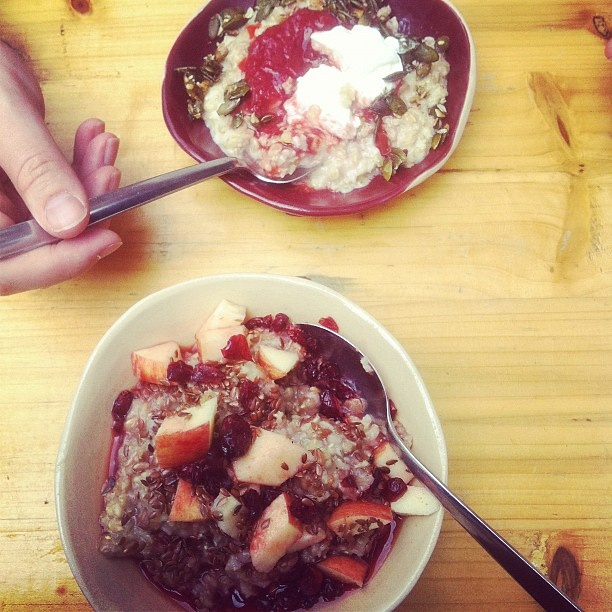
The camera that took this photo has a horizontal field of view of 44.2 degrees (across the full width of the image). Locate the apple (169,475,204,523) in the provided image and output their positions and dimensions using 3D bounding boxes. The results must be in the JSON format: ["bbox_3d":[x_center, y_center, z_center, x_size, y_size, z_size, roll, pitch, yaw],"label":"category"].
[{"bbox_3d":[-0.282,0.478,1.838,0.082,0.043,0.100,12,73,2],"label":"apple"}]

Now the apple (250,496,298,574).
[{"bbox_3d":[-0.078,0.538,1.795,0.159,0.059,0.169,-51,21,12],"label":"apple"}]

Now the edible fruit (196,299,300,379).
[{"bbox_3d":[-0.171,0.090,1.947,0.261,0.066,0.160,22,77,-9],"label":"edible fruit"}]

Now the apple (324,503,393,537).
[{"bbox_3d":[0.132,0.523,1.863,0.166,0.128,0.081,-6,74,-3],"label":"apple"}]

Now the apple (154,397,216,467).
[{"bbox_3d":[-0.301,0.310,1.839,0.177,0.072,0.126,-38,43,23],"label":"apple"}]
